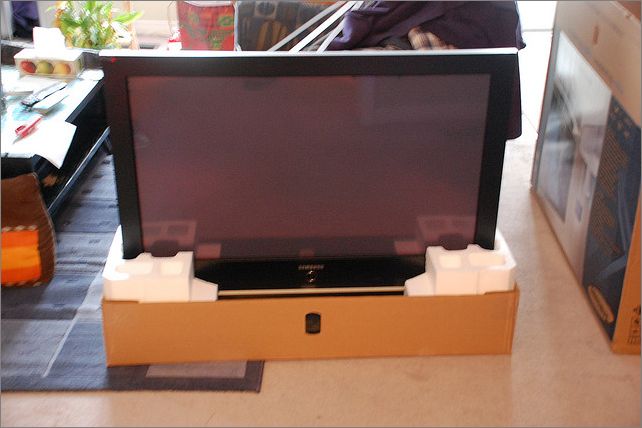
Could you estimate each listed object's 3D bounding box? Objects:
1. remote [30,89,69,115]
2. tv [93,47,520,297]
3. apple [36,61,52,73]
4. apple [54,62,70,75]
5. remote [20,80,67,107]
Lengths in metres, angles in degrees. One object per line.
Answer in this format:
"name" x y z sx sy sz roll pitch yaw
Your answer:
"remote" -1.421 -0.595 2.564 0.070 0.017 0.229 19 33 7
"tv" -0.043 -0.143 1.682 1.112 0.720 0.079 0 28 -1
"apple" -1.627 -0.862 2.856 0.084 0.059 0.058 -3 49 -16
"apple" -1.515 -0.850 2.842 0.083 0.060 0.059 14 45 -9
"remote" -1.500 -0.655 2.642 0.081 0.023 0.276 19 35 21
